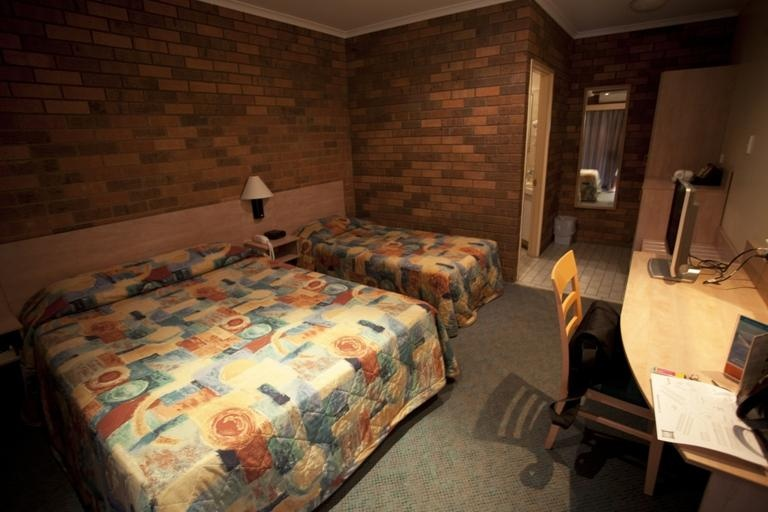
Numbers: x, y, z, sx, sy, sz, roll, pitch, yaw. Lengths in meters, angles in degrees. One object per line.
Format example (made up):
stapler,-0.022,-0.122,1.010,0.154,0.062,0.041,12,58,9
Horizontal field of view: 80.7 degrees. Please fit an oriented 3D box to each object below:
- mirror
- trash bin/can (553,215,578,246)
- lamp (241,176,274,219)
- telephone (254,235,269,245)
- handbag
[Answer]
mirror,3.100,-1.538,6.463,0.678,1.698,0.268,11,23,26
trash bin/can,2.721,-0.393,6.815,0.331,0.411,0.346,9,21,23
lamp,-1.413,-0.649,5.098,0.387,0.515,0.267,-9,22,-26
telephone,-1.349,-0.181,4.958,0.153,0.049,0.086,11,21,36
handbag,1.472,0.663,3.120,0.322,0.525,0.584,8,29,32
